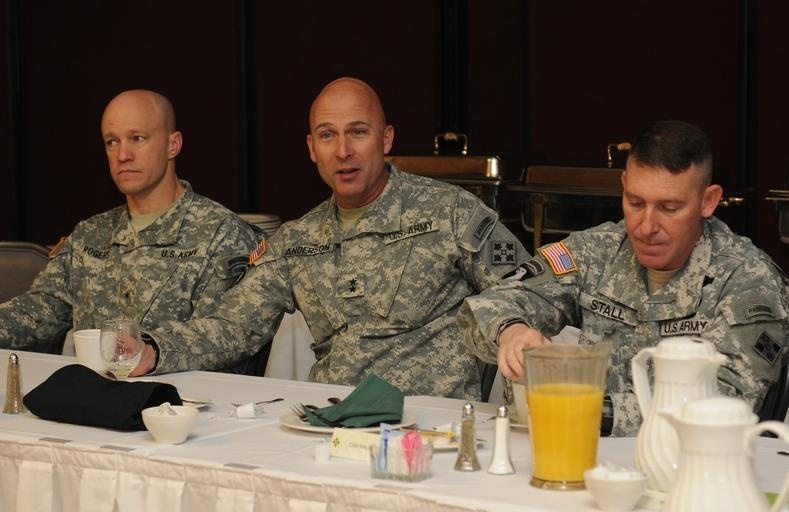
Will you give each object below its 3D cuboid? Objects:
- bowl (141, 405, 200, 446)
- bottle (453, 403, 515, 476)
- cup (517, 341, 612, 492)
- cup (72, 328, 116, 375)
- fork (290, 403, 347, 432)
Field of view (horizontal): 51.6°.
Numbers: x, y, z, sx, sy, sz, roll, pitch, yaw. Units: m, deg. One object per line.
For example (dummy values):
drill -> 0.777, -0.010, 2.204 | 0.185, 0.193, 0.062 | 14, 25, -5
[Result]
bowl -> -0.596, 0.445, 2.176 | 0.161, 0.098, 0.156 | -3, -2, 0
bottle -> 0.224, 0.443, 1.989 | 0.136, 0.162, 0.107 | -3, -4, 30
cup -> 0.395, 0.365, 1.860 | 0.189, 0.329, 0.149 | -2, -3, 13
cup -> -1.000, 0.304, 2.681 | 0.167, 0.166, 0.181 | -2, -3, 0
fork -> -0.221, 0.431, 2.242 | 0.093, 0.011, 0.093 | 9, 11, 42
